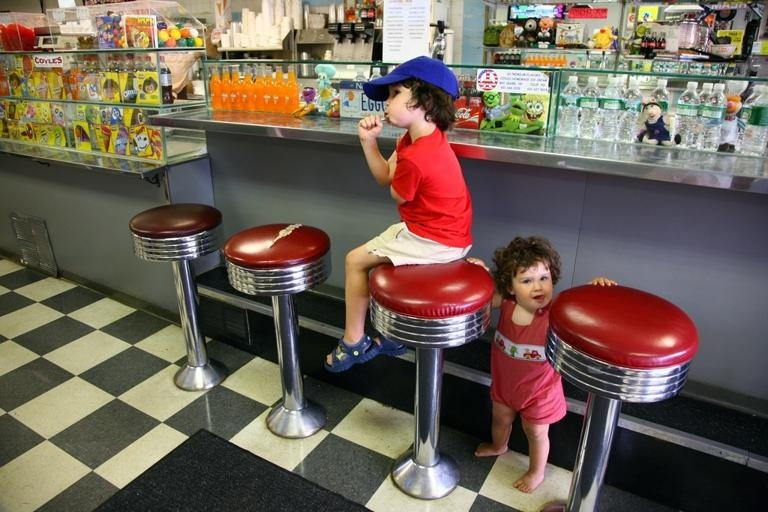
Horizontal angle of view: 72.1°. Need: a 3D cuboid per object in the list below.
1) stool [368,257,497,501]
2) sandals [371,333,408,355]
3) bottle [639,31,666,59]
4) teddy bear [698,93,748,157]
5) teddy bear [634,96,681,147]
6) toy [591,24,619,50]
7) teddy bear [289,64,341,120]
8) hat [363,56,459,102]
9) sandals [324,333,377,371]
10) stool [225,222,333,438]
[{"bbox_3d":[0.257,0.620,2.573,0.633,1.195,0.630,14,32,20],"label":"stool"},{"bbox_3d":[0.028,0.463,2.693,0.215,0.096,0.093,1,34,3],"label":"sandals"},{"bbox_3d":[2.671,-2.097,5.226,0.098,0.096,0.320,-3,-12,3],"label":"bottle"},{"bbox_3d":[1.571,-0.607,2.430,0.210,0.284,0.121,24,44,36],"label":"teddy bear"},{"bbox_3d":[1.327,-0.654,2.543,0.128,0.271,0.218,-34,24,-36],"label":"teddy bear"},{"bbox_3d":[2.395,-2.355,5.691,0.165,0.289,0.291,11,11,-43],"label":"toy"},{"bbox_3d":[-0.397,-0.974,3.110,0.272,0.258,0.138,15,35,19],"label":"teddy bear"},{"bbox_3d":[0.127,-0.817,2.413,0.385,0.189,0.246,7,1,-1],"label":"hat"},{"bbox_3d":[-0.202,0.519,2.657,0.313,0.151,0.134,-24,37,20],"label":"sandals"},{"bbox_3d":[-0.552,0.412,2.872,0.534,1.117,0.439,-2,24,-6],"label":"stool"}]
